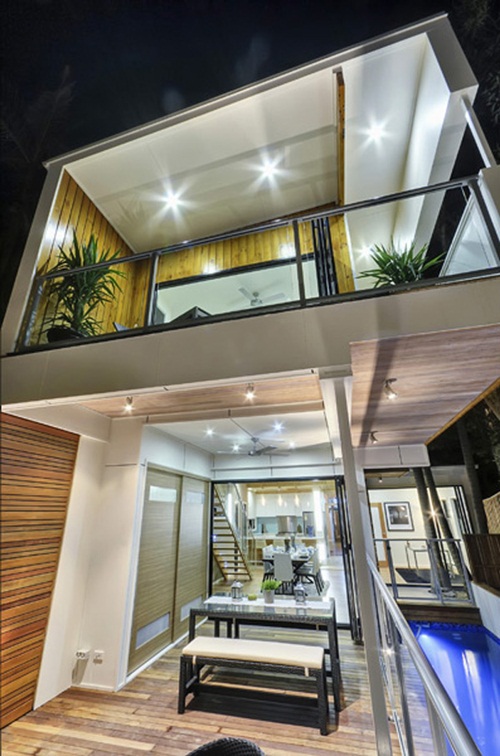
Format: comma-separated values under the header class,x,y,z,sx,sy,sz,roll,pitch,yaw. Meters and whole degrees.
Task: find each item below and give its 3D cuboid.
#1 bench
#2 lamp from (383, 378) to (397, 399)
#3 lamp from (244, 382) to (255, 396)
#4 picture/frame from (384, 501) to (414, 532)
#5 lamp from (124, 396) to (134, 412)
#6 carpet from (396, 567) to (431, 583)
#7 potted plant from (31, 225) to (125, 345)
class,x,y,z,sx,sy,sz,roll,pitch,yaw
bench,0.050,2.824,4.078,1.374,0.635,1.261,-8,-22,8
lamp,1.103,0.074,3.291,0.114,0.137,0.109,-18,-24,26
lamp,0.000,0.099,3.538,0.080,0.164,0.087,-1,-1,11
picture/frame,2.620,2.362,7.271,0.502,0.666,0.022,-5,0,31
lamp,-1.170,0.244,4.075,0.056,0.263,0.172,1,1,-10
carpet,2.879,3.446,7.378,0.538,0.282,0.151,-11,-22,15
potted plant,-1.649,-0.800,4.052,0.618,1.082,0.668,7,4,-33
